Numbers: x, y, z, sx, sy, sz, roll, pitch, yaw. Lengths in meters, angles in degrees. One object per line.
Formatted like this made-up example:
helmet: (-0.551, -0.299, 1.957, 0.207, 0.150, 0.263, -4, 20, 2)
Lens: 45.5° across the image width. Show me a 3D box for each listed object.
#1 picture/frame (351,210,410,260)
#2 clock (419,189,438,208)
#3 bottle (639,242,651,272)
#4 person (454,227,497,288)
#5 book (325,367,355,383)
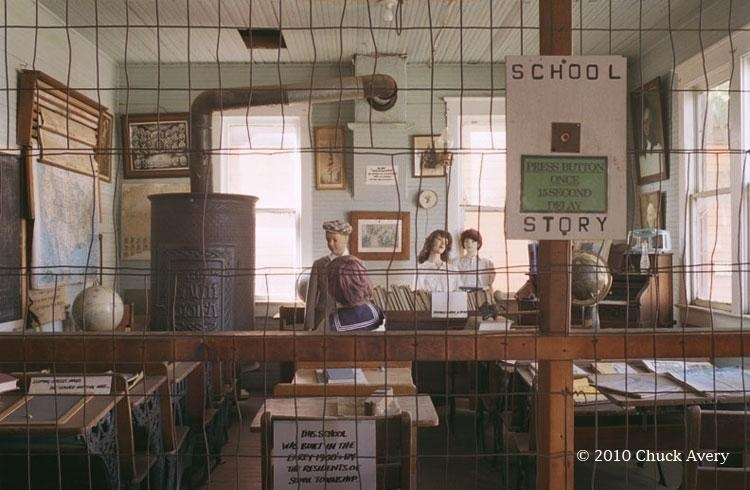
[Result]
picture/frame: (0.052, -0.130, 11.373, 0.718, 0.640, 0.047, -1, 21, -3)
clock: (0.650, -0.579, 11.384, 0.269, 0.243, 0.141, -2, 2, -32)
bottle: (2.984, 0.113, 9.927, 0.102, 0.276, 0.341, 0, 2, 16)
person: (1.211, 0.326, 11.199, 0.491, 1.017, 0.313, -3, -24, 18)
book: (-0.321, 1.195, 8.131, 0.323, 0.078, 0.302, -1, 0, -1)
